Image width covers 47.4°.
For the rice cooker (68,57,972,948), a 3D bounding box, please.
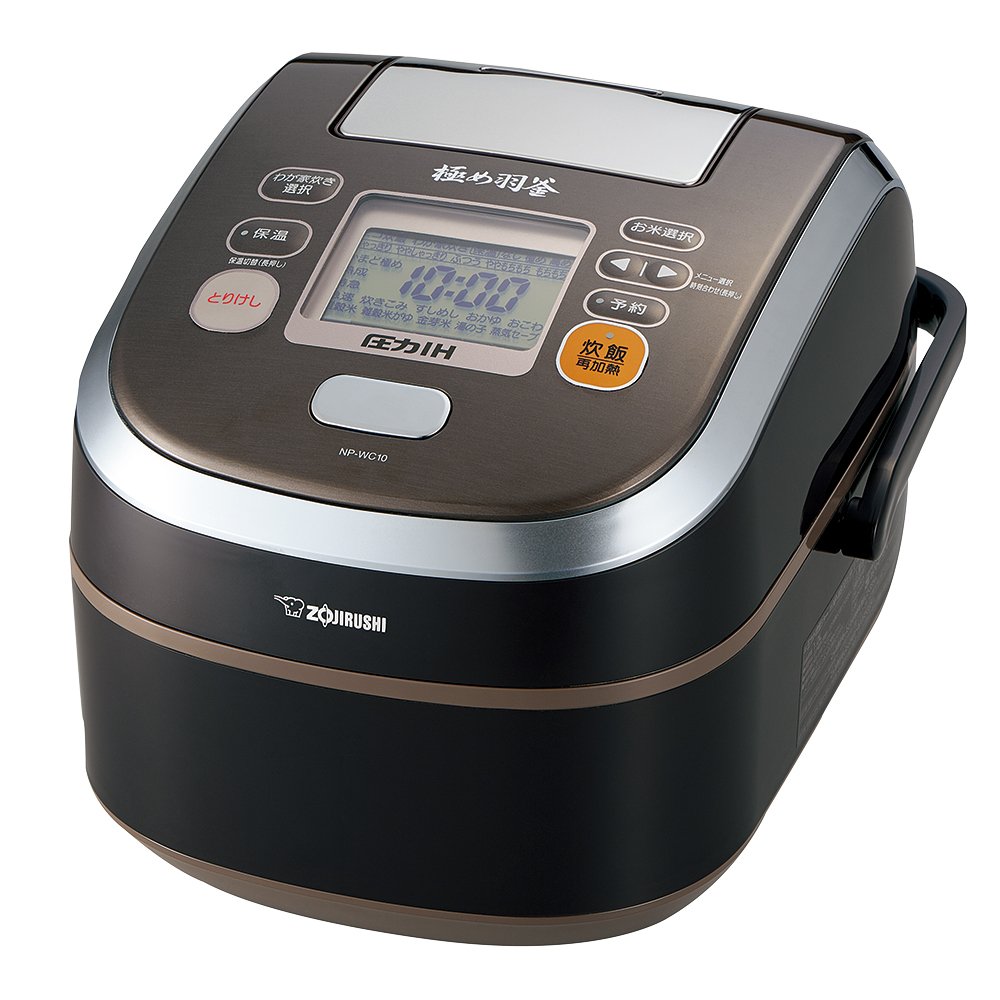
[{"bbox_3d":[0.021,-0.008,0.951,0.681,0.440,0.643,13,37,17],"label":"rice cooker"}]
